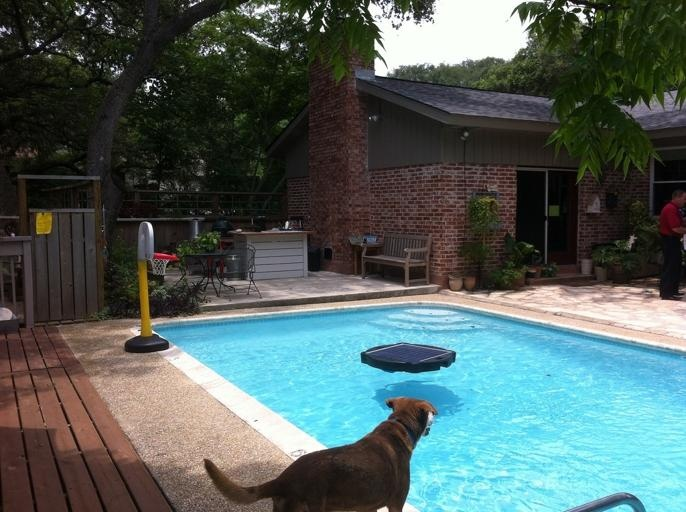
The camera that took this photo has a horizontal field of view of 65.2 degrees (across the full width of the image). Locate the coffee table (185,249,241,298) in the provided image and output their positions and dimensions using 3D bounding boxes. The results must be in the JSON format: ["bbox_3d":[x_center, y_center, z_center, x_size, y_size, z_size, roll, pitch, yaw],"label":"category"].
[{"bbox_3d":[-2.803,0.315,11.370,1.075,0.793,1.115,6,13,38],"label":"coffee table"}]

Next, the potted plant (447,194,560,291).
[{"bbox_3d":[3.582,-0.284,12.356,2.183,2.214,0.994,1,6,-36],"label":"potted plant"}]

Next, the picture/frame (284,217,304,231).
[{"bbox_3d":[-1.628,-1.022,17.312,0.625,0.392,0.628,-2,-1,-24],"label":"picture/frame"}]

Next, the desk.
[{"bbox_3d":[-1.760,-0.168,14.417,1.926,1.203,1.880,-4,16,-16],"label":"desk"}]

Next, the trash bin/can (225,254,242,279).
[{"bbox_3d":[-2.711,0.263,12.941,0.567,0.668,0.581,-1,5,-11],"label":"trash bin/can"}]
